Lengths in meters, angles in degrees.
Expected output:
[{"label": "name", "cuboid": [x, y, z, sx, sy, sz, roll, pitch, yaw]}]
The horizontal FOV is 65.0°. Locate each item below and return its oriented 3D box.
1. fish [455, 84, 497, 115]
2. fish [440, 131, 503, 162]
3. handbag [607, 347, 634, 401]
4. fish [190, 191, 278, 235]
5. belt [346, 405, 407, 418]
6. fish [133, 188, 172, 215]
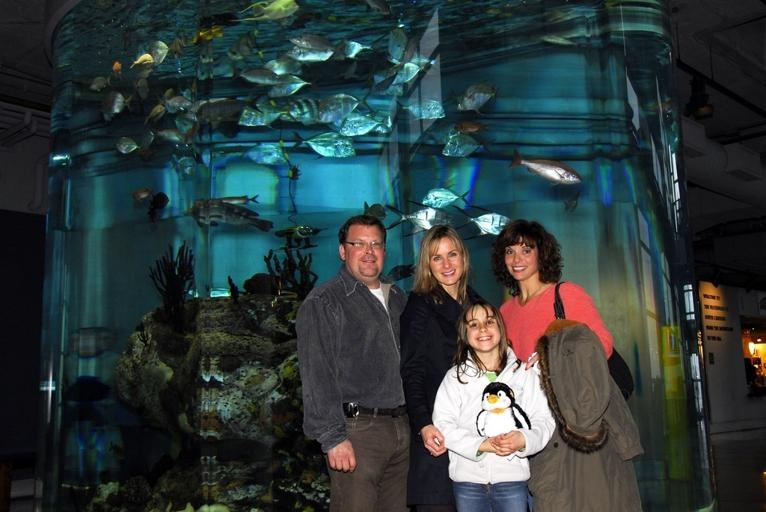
[{"label": "fish", "cuboid": [0.942, -1.577, 6.009, 0.353, 0.230, 0.239, -5, -12, 9]}, {"label": "fish", "cuboid": [0.962, -1.182, 6.417, 0.611, 0.268, 0.136, 10, -45, 10]}, {"label": "handbag", "cuboid": [1.556, 0.774, 3.943, 0.118, 0.330, 0.277, -9, -14, 24]}, {"label": "fish", "cuboid": [-1.196, -0.368, 5.826, 1.170, 0.437, 0.179, 2, -49, -45]}, {"label": "belt", "cuboid": [-0.055, 1.049, 4.092, 0.410, 0.105, 0.030, -1, -14, -9]}, {"label": "fish", "cuboid": [-2.201, -0.531, 5.750, 0.373, 0.264, 0.048, -6, -14, 14]}]
